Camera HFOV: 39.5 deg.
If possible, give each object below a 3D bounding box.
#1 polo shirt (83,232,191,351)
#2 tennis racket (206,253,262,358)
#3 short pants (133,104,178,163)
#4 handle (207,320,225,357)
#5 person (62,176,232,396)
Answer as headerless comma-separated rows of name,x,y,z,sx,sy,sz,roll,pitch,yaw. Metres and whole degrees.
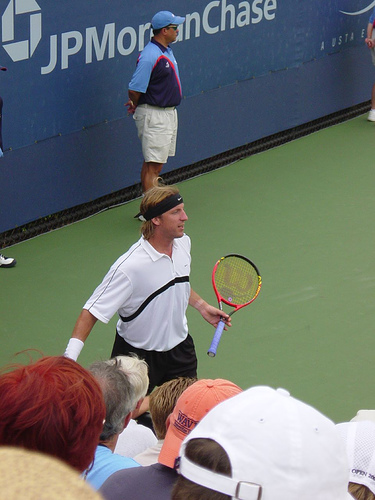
polo shirt,-0.296,0.294,3.197,0.706,0.699,0.194,-4,8,-29
tennis racket,0.260,0.413,3.577,0.340,0.870,0.065,26,31,16
short pants,-0.372,-1.366,6.040,0.381,0.647,0.487,7,16,21
handle,0.169,0.538,3.129,0.058,0.046,0.284,33,38,-12
person,-0.317,0.588,3.467,1.112,2.022,0.493,-7,28,-22
